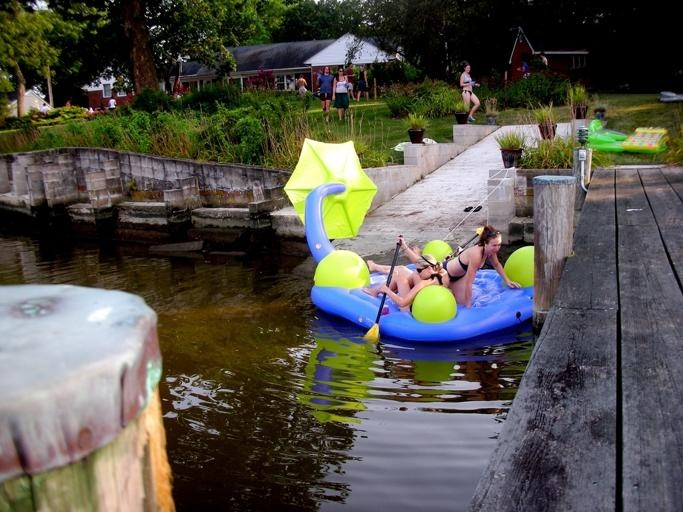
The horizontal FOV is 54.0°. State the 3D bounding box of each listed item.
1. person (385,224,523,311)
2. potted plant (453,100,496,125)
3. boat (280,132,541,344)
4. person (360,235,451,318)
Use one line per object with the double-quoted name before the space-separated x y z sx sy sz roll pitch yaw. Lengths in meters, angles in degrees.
"person" 1.340 -0.016 8.186 1.462 0.714 0.915 12 27 32
"potted plant" 3.606 -3.999 18.630 0.961 0.760 1.409 0 2 10
"boat" 0.720 -0.188 8.601 1.852 1.380 2.799 -13 20 -40
"person" 0.793 0.220 8.479 1.287 0.760 0.878 20 38 37
